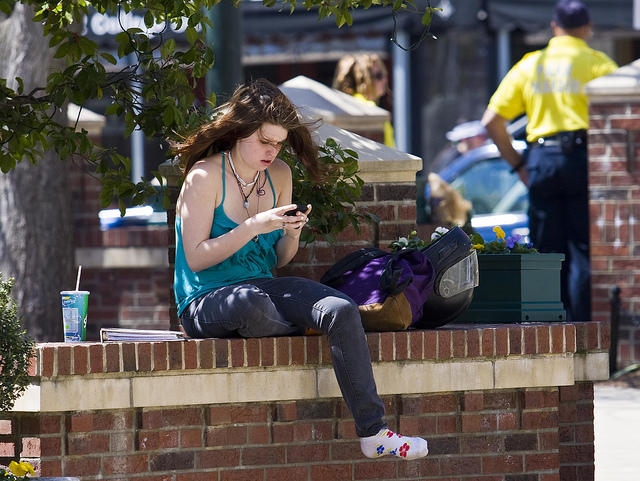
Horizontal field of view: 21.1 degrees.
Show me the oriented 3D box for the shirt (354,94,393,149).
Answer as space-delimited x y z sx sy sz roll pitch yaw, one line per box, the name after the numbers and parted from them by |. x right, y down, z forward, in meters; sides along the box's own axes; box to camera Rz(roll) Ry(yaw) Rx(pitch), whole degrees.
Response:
0.530 -1.192 17.233 0.379 0.586 0.857 -2 -3 2 | shirt

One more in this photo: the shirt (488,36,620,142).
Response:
1.932 -1.257 14.236 1.134 0.945 0.533 -7 24 -10 | shirt

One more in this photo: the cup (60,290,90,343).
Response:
-1.773 0.546 12.545 0.219 0.359 0.209 1 5 0 | cup

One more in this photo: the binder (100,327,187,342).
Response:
-1.257 0.662 12.166 0.590 0.108 0.381 -2 -3 -7 | binder

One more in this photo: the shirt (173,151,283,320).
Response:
-0.720 -0.041 12.494 0.685 1.232 0.742 -8 15 -35 | shirt

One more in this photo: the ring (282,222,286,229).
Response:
-0.264 -0.106 12.032 0.022 0.042 0.023 2 10 0 | ring

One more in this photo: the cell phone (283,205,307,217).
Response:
-0.175 -0.208 12.045 0.141 0.035 0.075 -15 -17 34 | cell phone

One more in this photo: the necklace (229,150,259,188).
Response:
-0.573 -0.517 12.253 0.174 0.251 0.051 7 -2 -36 | necklace
